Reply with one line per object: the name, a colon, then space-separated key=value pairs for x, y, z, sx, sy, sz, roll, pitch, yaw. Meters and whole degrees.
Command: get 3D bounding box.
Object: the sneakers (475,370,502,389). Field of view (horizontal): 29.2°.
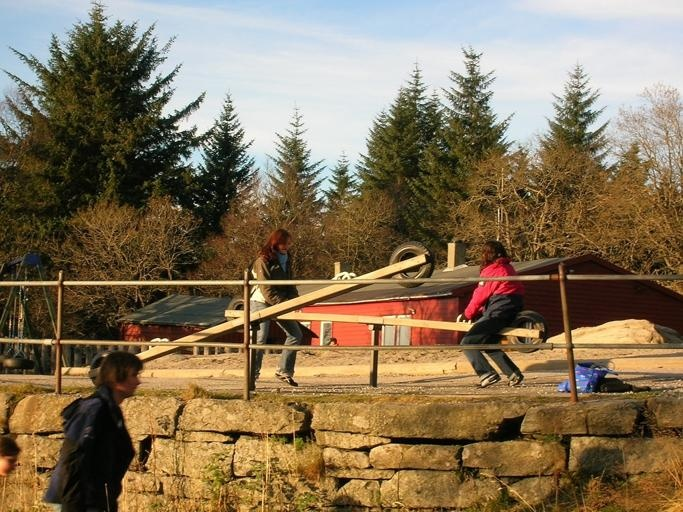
sneakers: x=3.170 y=2.655 z=28.004 sx=0.600 sy=0.238 sz=0.220 roll=-32 pitch=-34 yaw=18
